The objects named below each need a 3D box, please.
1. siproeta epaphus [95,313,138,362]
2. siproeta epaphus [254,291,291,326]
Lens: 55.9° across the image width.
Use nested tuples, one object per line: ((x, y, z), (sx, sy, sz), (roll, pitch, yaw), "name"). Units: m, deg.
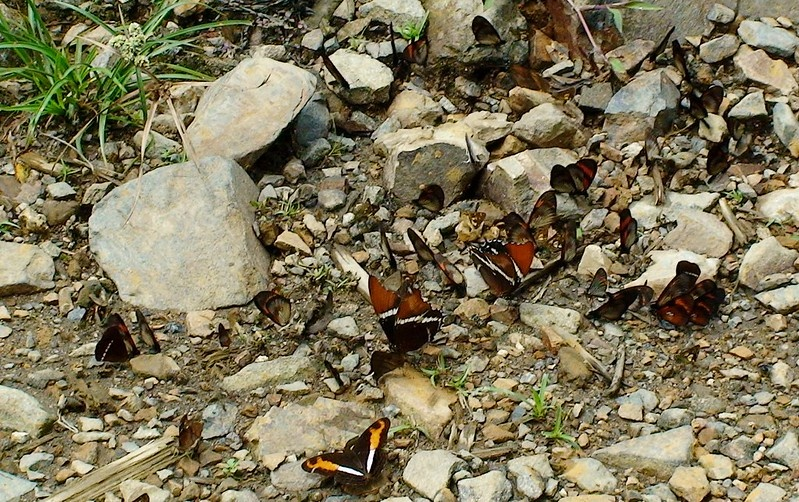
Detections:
((-2.401, 0.757, 6.380), (0.210, 0.301, 0.276), (9, 36, 7), "siproeta epaphus")
((-1.124, 0.502, 6.562), (0.329, 0.270, 0.239), (-2, 57, 0), "siproeta epaphus")
